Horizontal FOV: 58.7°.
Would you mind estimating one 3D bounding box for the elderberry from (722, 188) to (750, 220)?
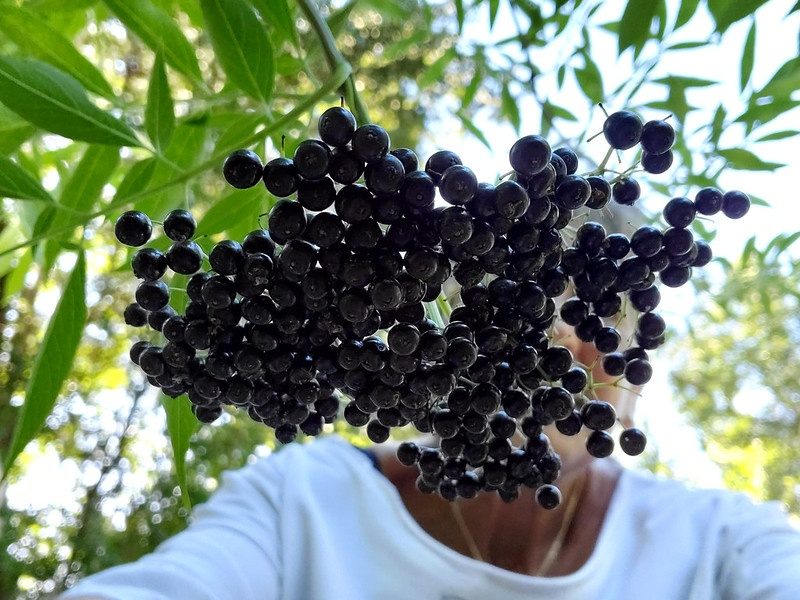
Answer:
[{"bbox_3d":[0.720,-0.208,1.534,0.058,0.050,0.048,-10,-40,20],"label":"elderberry"}]

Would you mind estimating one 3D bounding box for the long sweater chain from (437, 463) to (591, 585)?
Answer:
[{"bbox_3d":[0.486,0.767,2.732,0.447,0.183,0.564,35,-25,-30],"label":"long sweater chain"}]

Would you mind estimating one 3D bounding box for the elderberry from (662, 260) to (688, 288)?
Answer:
[{"bbox_3d":[0.585,-0.059,1.522,0.050,0.025,0.049,-28,-80,11],"label":"elderberry"}]

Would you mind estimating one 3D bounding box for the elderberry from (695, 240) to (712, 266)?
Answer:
[{"bbox_3d":[0.652,-0.103,1.553,0.046,0.051,0.030,4,-14,-6],"label":"elderberry"}]

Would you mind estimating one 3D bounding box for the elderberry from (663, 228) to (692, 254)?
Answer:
[{"bbox_3d":[0.577,-0.124,1.479,0.056,0.062,0.053,8,-70,5],"label":"elderberry"}]

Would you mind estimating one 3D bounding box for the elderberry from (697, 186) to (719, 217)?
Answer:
[{"bbox_3d":[0.660,-0.212,1.523,0.054,0.049,0.047,-14,-41,24],"label":"elderberry"}]
